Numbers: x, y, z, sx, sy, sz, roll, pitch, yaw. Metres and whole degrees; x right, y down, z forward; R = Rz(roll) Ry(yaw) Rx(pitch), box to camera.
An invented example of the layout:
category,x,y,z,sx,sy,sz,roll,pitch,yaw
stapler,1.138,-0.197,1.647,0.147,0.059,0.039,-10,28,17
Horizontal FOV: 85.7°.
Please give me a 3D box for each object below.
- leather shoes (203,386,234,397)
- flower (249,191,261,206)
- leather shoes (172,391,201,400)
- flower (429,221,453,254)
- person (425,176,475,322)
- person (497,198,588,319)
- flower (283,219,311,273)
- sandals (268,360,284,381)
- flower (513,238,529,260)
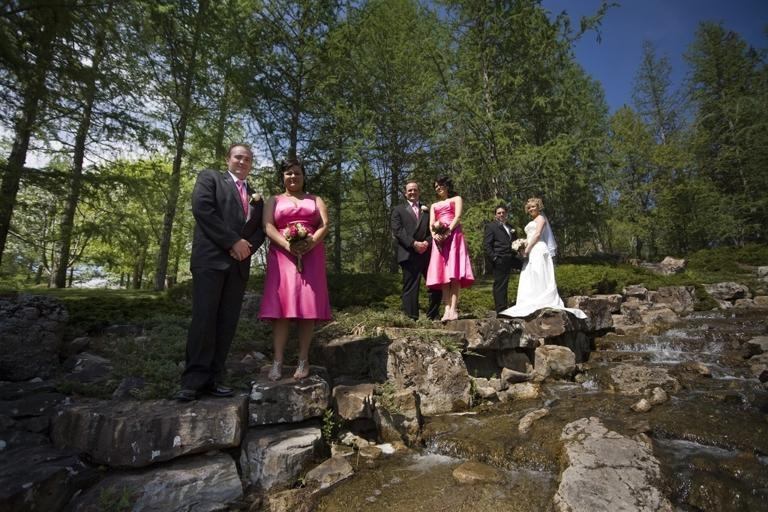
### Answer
category,x,y,z,sx,sy,sz,roll,pitch,yaw
leather shoes,-2.622,2.153,6.547,0.404,0.173,0.172,0,-13,3
flower,-2.103,-0.945,6.837,0.198,0.181,0.058,8,-4,-11
leather shoes,-3.050,2.144,6.356,0.331,0.150,0.153,20,-24,-36
flower,1.251,-0.386,8.768,0.405,0.642,0.243,2,-7,-10
person,1.440,-0.185,8.982,0.976,3.166,0.786,0,-7,5
person,3.867,0.061,10.448,1.167,2.945,0.587,-1,-7,18
flower,-1.393,-0.152,6.852,0.407,0.681,0.343,-6,6,1
sandals,-1.782,1.887,6.898,0.261,0.325,0.203,6,-9,-39
flower,3.527,-0.180,10.488,0.411,0.431,0.409,-12,-10,-20
